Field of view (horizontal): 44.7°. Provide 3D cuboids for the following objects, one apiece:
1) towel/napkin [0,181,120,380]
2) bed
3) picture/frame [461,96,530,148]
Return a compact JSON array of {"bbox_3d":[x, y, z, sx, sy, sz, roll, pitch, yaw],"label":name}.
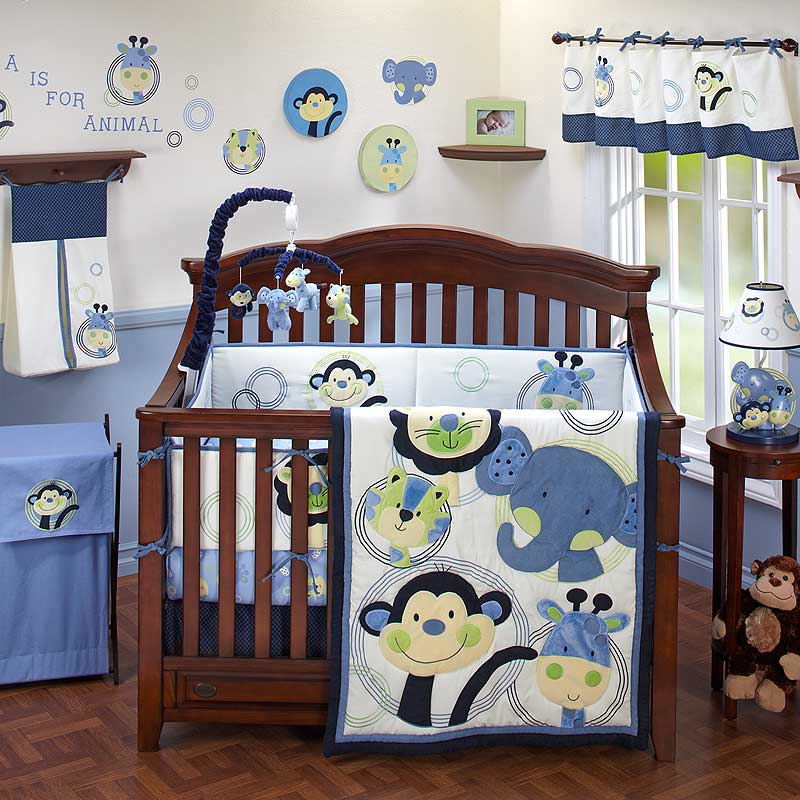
[{"bbox_3d":[-1.072,-0.377,3.033,0.338,0.575,0.107,-8,8,-33],"label":"towel/napkin"},{"bbox_3d":[0.010,0.250,2.374,1.131,1.317,0.712,0,6,-2],"label":"bed"},{"bbox_3d":[0.373,-1.069,3.760,0.193,0.172,0.029,1,4,3],"label":"picture/frame"}]
